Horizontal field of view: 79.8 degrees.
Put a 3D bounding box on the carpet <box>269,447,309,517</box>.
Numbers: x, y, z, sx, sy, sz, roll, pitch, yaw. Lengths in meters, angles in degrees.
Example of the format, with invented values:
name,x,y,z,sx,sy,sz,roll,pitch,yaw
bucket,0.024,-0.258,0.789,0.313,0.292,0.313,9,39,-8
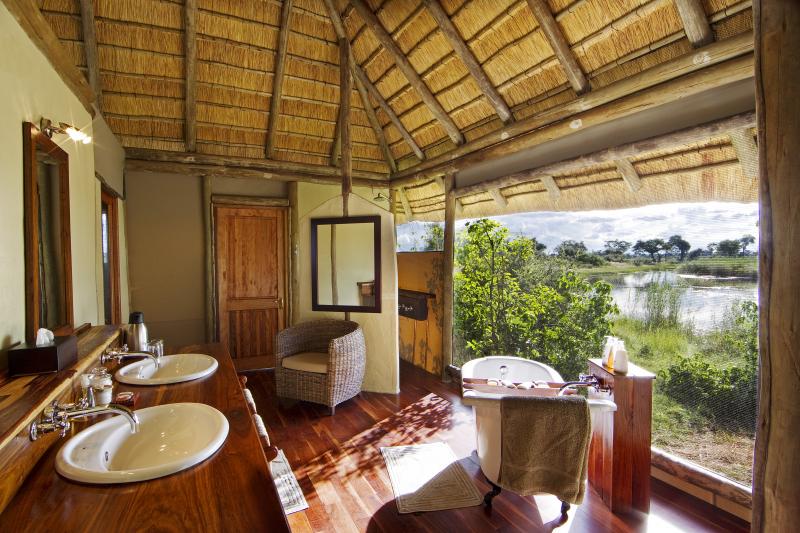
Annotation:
name,x,y,z,sx,sy,sz,roll,pitch,yaw
carpet,-0.946,1.792,4.007,0.189,0.267,0.717,1,1,-29

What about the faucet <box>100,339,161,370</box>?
name,x,y,z,sx,sy,sz,roll,pitch,yaw
faucet,-2.033,0.665,3.609,0.450,0.169,0.188,1,-3,7

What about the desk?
name,x,y,z,sx,sy,sz,roll,pitch,yaw
desk,1.727,1.365,3.769,0.443,1.193,1.169,1,-1,10

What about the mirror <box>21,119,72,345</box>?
name,x,y,z,sx,sy,sz,roll,pitch,yaw
mirror,-2.447,-0.239,3.345,0.159,1.421,0.511,1,1,-15

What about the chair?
name,x,y,z,sx,sy,sz,roll,pitch,yaw
chair,-0.865,1.063,5.336,0.840,0.887,0.617,2,1,24

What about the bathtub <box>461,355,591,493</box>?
name,x,y,z,sx,sy,sz,roll,pitch,yaw
bathtub,1.014,1.261,4.139,0.717,0.503,1.245,1,8,2

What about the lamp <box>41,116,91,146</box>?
name,x,y,z,sx,sy,sz,roll,pitch,yaw
lamp,-2.502,-0.991,3.500,0.320,0.117,0.144,17,16,31

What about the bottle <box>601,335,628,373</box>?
name,x,y,z,sx,sy,sz,roll,pitch,yaw
bottle,1.753,0.723,3.906,0.104,0.261,0.298,0,-2,-4

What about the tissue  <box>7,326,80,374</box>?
name,x,y,z,sx,sy,sz,roll,pitch,yaw
tissue ,-2.246,0.552,3.008,0.245,0.176,0.357,-2,4,-19

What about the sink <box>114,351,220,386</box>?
name,x,y,z,sx,sy,sz,roll,pitch,yaw
sink,-1.721,0.766,3.536,0.589,0.170,0.643,3,2,43

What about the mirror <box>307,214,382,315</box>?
name,x,y,z,sx,sy,sz,roll,pitch,yaw
mirror,-0.639,-0.024,5.599,0.835,1.165,0.039,0,11,-1

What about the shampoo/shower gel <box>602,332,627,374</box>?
name,x,y,z,sx,sy,sz,roll,pitch,yaw
shampoo/shower gel,1.770,0.720,3.937,0.092,0.223,0.265,-1,-2,-3
